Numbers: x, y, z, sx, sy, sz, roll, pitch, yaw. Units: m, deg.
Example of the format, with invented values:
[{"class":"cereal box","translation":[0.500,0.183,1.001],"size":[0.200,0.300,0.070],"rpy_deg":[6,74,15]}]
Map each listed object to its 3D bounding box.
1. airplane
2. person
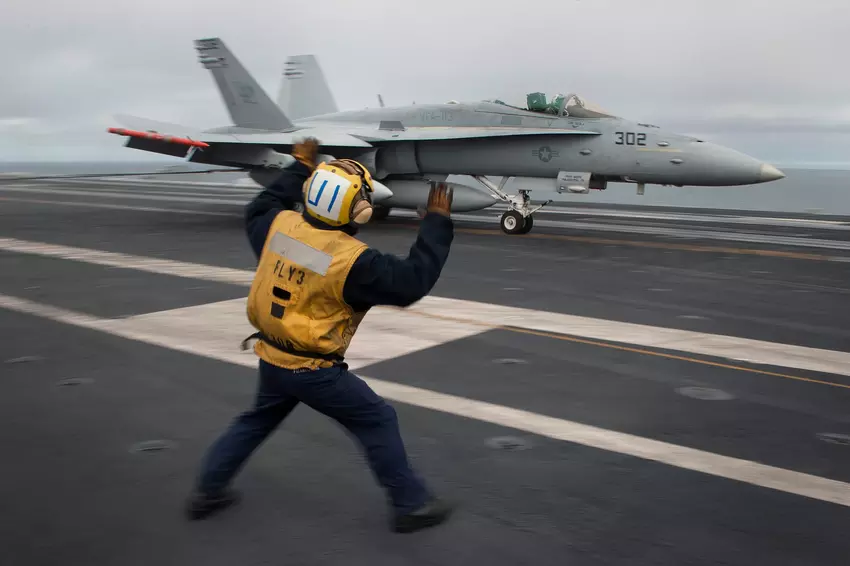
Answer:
[{"class":"airplane","translation":[0.260,-3.819,18.916],"size":[16.920,2.175,10.686],"rpy_deg":[6,8,31]},{"class":"person","translation":[-0.677,0.440,4.277],"size":[1.719,2.489,0.992],"rpy_deg":[0,23,2]}]
